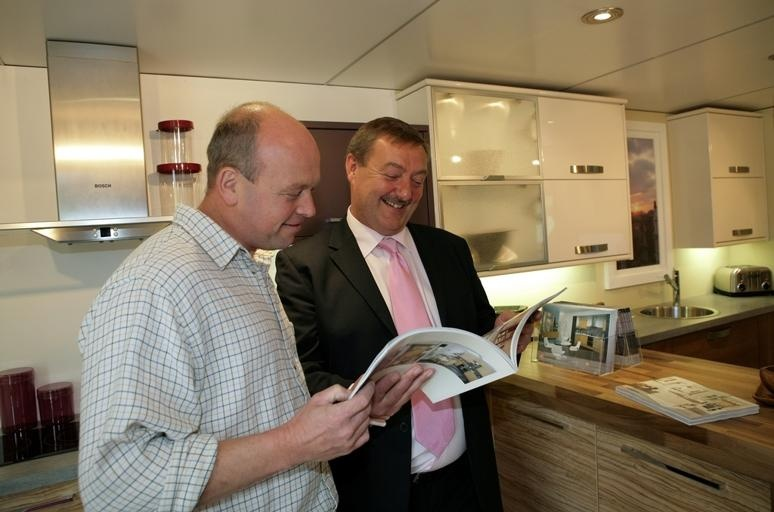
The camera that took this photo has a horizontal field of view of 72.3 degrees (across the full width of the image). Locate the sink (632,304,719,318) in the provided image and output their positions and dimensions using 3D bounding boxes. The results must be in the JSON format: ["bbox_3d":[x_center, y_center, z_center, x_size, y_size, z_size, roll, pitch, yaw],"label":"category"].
[{"bbox_3d":[2.341,0.446,4.324,0.540,0.112,0.331,-1,5,20],"label":"sink"}]

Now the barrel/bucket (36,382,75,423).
[{"bbox_3d":[-1.588,0.696,2.579,0.188,0.187,0.181,-1,3,0],"label":"barrel/bucket"}]
